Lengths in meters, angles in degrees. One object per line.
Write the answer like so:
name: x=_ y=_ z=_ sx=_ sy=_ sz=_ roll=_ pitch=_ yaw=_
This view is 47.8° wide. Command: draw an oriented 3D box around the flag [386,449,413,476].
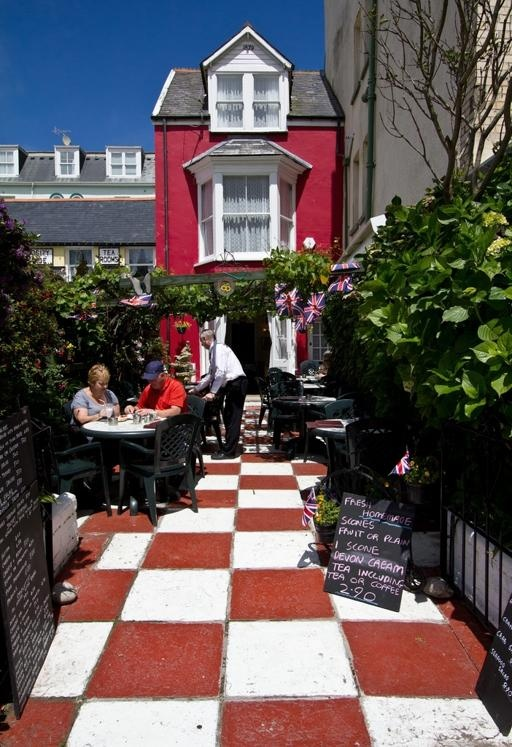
flag: x=0.907 y=0.552 z=3.620 sx=0.190 sy=0.212 sz=0.015 roll=16 pitch=48 yaw=41

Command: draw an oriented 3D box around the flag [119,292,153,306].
flag: x=-1.489 y=-0.915 z=7.152 sx=0.384 sy=0.164 sz=0.305 roll=-1 pitch=3 yaw=-11

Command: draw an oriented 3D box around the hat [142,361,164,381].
hat: x=-0.943 y=-0.024 z=5.258 sx=0.212 sy=0.195 sz=0.212 roll=0 pitch=3 yaw=18

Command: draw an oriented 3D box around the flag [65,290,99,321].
flag: x=-2.139 y=-0.825 z=7.039 sx=0.392 sy=0.361 sz=0.335 roll=-1 pitch=3 yaw=-15

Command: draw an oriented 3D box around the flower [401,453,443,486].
flower: x=0.976 y=0.567 z=3.373 sx=0.145 sy=0.154 sz=0.169 roll=-9 pitch=19 yaw=-2

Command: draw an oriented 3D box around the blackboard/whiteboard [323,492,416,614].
blackboard/whiteboard: x=0.631 y=0.981 z=3.118 sx=0.433 sy=0.664 sz=0.031 roll=7 pitch=-20 yaw=25

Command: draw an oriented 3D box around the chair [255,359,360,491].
chair: x=0.594 y=0.600 z=6.835 sx=0.951 sy=0.788 sz=1.057 roll=0 pitch=12 yaw=-3

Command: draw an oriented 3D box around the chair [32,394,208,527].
chair: x=-1.099 y=0.722 z=4.915 sx=1.171 sy=0.833 sz=1.179 roll=-1 pitch=3 yaw=0

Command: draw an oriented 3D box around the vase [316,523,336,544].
vase: x=0.463 y=1.064 z=3.829 sx=0.121 sy=0.122 sz=0.147 roll=0 pitch=-6 yaw=3

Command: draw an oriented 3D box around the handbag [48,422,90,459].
handbag: x=-1.637 y=0.571 z=5.066 sx=0.281 sy=0.421 sz=0.291 roll=-12 pitch=29 yaw=-25

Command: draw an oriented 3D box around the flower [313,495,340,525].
flower: x=0.464 y=0.871 z=3.807 sx=0.149 sy=0.094 sz=0.165 roll=3 pitch=9 yaw=0

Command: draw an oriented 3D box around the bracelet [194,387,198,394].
bracelet: x=-0.781 y=0.217 z=7.540 sx=0.055 sy=0.092 sz=0.020 roll=-4 pitch=-8 yaw=39

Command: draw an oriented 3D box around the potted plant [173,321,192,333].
potted plant: x=-1.689 y=-1.073 z=13.212 sx=0.284 sy=0.245 sz=0.304 roll=3 pitch=-3 yaw=-7

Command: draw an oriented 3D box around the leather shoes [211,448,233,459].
leather shoes: x=-0.411 y=0.956 z=6.956 sx=0.254 sy=0.133 sz=0.108 roll=3 pitch=-3 yaw=-5

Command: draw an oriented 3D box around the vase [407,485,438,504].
vase: x=0.981 y=0.699 z=3.411 sx=0.134 sy=0.116 sz=0.149 roll=0 pitch=-4 yaw=4

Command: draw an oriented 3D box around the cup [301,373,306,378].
cup: x=0.993 y=0.041 z=12.161 sx=0.089 sy=0.121 sz=0.097 roll=2 pitch=-2 yaw=0
